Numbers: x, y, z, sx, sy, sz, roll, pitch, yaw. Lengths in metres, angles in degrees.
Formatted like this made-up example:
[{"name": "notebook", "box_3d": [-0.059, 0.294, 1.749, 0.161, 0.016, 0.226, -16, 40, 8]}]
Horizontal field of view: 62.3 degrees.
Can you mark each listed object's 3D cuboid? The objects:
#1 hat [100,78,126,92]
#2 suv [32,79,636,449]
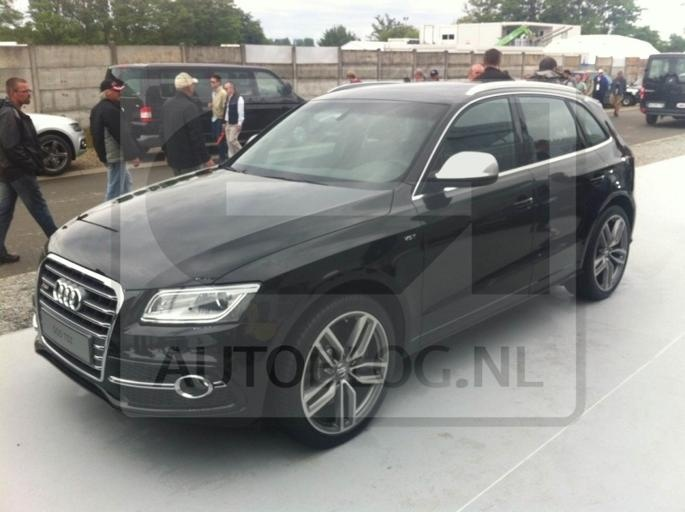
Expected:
[{"name": "hat", "box_3d": [-3.173, -2.352, 7.819, 0.315, 0.163, 0.442, -6, 28, -16]}, {"name": "suv", "box_3d": [0.415, -0.069, 4.559, 2.216, 1.730, 4.661, 11, 17, 42]}]
